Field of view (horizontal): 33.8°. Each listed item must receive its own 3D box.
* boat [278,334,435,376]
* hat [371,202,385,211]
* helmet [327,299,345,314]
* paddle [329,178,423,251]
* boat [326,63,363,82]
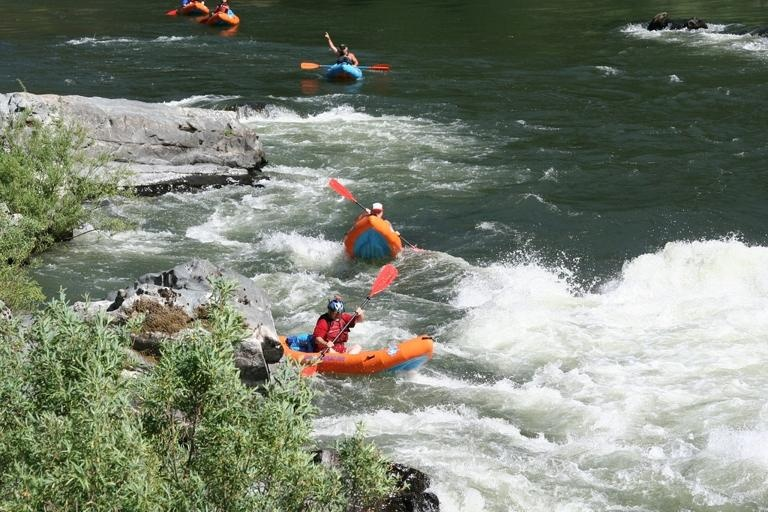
[{"bbox_3d":[-0.297,2.600,30.929,4.201,0.703,1.223,-5,14,12],"label":"boat"},{"bbox_3d":[-0.147,-1.267,34.820,0.252,0.248,0.397,0,27,-6],"label":"hat"},{"bbox_3d":[-1.119,1.338,31.285,0.341,0.332,0.345,3,9,-14],"label":"helmet"},{"bbox_3d":[-0.187,-1.011,36.016,3.579,0.217,0.397,33,47,7],"label":"paddle"},{"bbox_3d":[-1.326,-6.752,46.643,1.319,0.748,0.646,-3,29,-13],"label":"boat"}]
